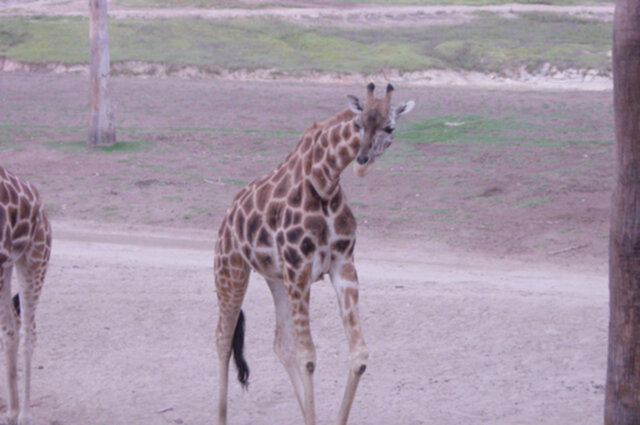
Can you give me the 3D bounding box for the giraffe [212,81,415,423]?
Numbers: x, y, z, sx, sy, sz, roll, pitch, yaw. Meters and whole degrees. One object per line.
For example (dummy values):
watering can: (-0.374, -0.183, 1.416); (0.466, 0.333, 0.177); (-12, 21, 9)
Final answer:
giraffe: (-0.676, 1.532, 47.747); (6.024, 12.245, 2.976); (0, 16, -2)
